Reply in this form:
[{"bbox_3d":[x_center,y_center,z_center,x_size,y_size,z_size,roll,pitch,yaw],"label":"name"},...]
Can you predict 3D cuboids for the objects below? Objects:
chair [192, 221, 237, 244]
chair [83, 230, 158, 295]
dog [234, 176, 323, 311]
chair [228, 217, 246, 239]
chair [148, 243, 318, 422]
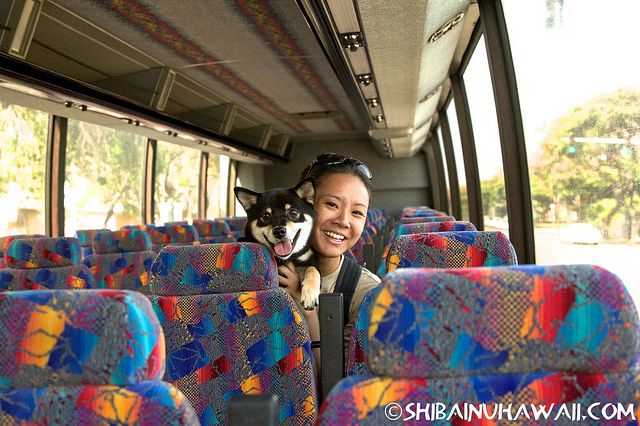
[{"bbox_3d":[-1.632,0.253,6.330,0.471,0.465,0.507,1,3,32],"label":"chair"},{"bbox_3d":[-1.780,0.423,3.821,0.687,0.651,0.472,1,3,1],"label":"chair"},{"bbox_3d":[-0.183,0.180,2.313,0.378,0.535,0.709,-3,-35,0],"label":"dog"},{"bbox_3d":[-1.377,0.229,7.017,0.279,0.266,0.200,2,16,5],"label":"chair"},{"bbox_3d":[-0.312,0.503,2.151,0.863,0.813,0.658,-3,-18,4],"label":"chair"}]
